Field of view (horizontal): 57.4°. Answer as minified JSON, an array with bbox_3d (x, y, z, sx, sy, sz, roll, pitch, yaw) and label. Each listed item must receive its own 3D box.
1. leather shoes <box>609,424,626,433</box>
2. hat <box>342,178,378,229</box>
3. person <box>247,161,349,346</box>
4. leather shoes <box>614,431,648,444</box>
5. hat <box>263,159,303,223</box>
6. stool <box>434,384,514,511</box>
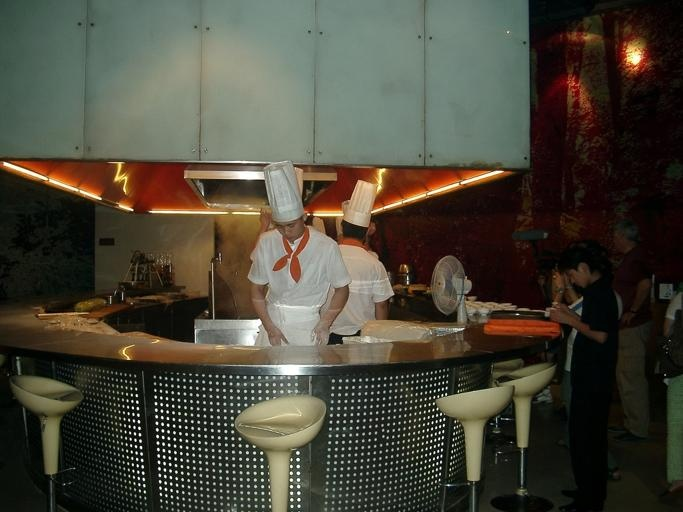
[{"bbox_3d":[2.389,1.500,5.423,0.159,0.067,0.059,3,-8,-8],"label":"leather shoes"},{"bbox_3d":[0.206,-0.386,4.939,0.282,0.419,0.281,2,2,-33],"label":"hat"},{"bbox_3d":[-0.300,0.210,4.151,0.725,1.630,0.511,5,12,9],"label":"person"},{"bbox_3d":[2.412,1.524,5.236,0.264,0.103,0.100,-3,-5,14],"label":"leather shoes"},{"bbox_3d":[-0.372,-0.405,4.061,0.241,0.412,0.203,-2,3,-9],"label":"hat"},{"bbox_3d":[0.786,1.150,3.686,0.456,0.808,0.296,-1,3,5],"label":"stool"}]
